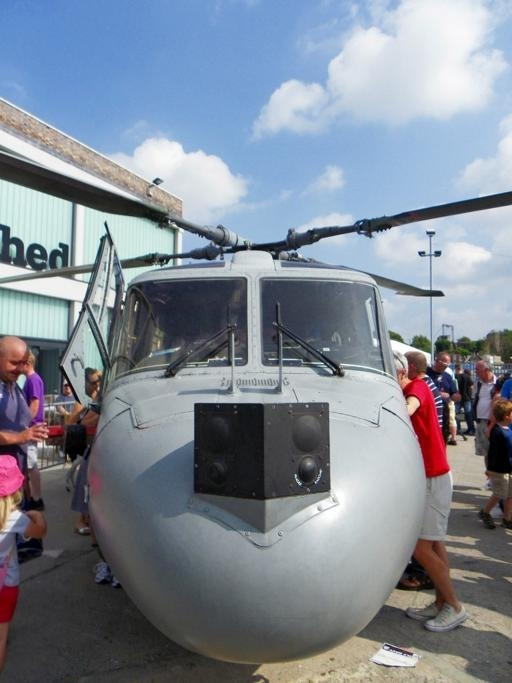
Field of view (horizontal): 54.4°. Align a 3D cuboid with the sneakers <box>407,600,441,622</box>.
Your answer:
[{"bbox_3d":[1.037,1.654,3.087,0.222,0.096,0.081,9,-3,4],"label":"sneakers"}]

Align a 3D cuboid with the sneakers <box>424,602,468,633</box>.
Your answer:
[{"bbox_3d":[1.130,1.643,2.994,0.298,0.123,0.109,9,-16,-32],"label":"sneakers"}]

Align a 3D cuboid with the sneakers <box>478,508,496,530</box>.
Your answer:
[{"bbox_3d":[2.392,1.819,5.155,0.095,0.104,0.243,1,4,10],"label":"sneakers"}]
